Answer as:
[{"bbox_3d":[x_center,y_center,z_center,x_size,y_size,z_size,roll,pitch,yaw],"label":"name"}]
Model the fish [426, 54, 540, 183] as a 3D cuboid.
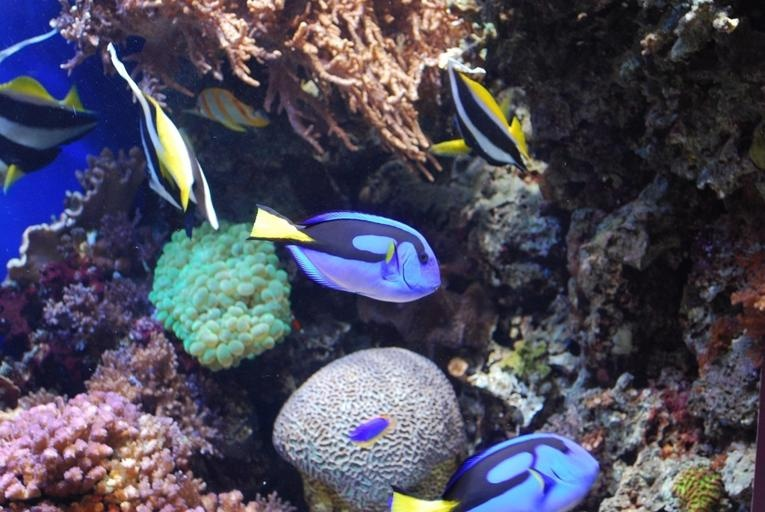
[{"bbox_3d":[0.692,-0.858,6.923,0.762,0.667,0.394,30,26,10],"label":"fish"}]
